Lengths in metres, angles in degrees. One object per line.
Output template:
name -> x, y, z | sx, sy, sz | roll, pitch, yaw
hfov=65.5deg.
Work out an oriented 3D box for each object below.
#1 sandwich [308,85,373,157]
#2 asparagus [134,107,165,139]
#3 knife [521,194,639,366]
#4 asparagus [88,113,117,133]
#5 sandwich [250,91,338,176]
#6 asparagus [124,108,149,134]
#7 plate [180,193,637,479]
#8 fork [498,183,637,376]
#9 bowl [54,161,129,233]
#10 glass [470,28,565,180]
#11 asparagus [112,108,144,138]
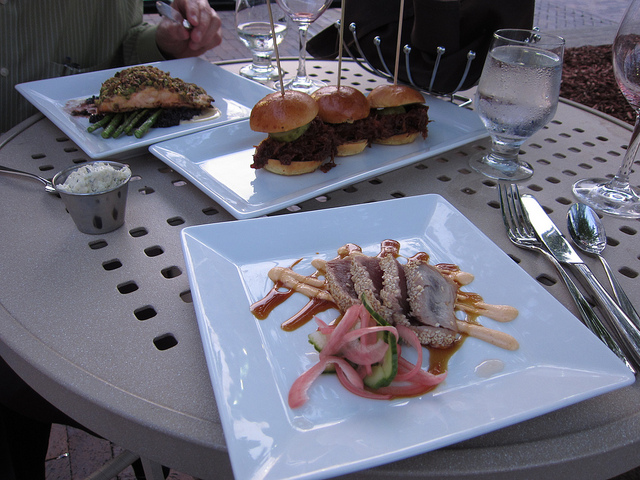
sandwich -> 0.049, -0.497, 1.996 | 0.303, 0.243, 0.317 | -3, 31, -2
asparagus -> -0.668, -0.457, 1.923 | 0.033, 0.035, 0.231 | 15, 35, 5
knife -> 0.691, 0.078, 1.390 | 0.065, 0.054, 0.617 | 5, 36, -19
asparagus -> -0.834, -0.466, 1.940 | 0.034, 0.026, 0.183 | 17, 42, 13
sandwich -> -0.114, -0.422, 1.880 | 0.337, 0.257, 0.339 | -23, 35, -23
asparagus -> -0.718, -0.466, 1.944 | 0.028, 0.028, 0.129 | 32, 55, -7
plate -> 0.144, 0.162, 1.212 | 0.851, 0.174, 0.774 | -16, 52, -12
fork -> 0.624, 0.082, 1.399 | 0.085, 0.095, 0.654 | 7, 40, -30
bowl -> -0.652, -0.122, 1.473 | 0.223, 0.221, 0.175 | -22, 94, -38
glass -> 0.671, -0.453, 1.738 | 0.257, 0.464, 0.373 | 14, 51, 14
asparagus -> -0.740, -0.462, 1.943 | 0.027, 0.023, 0.202 | 18, 46, 13
